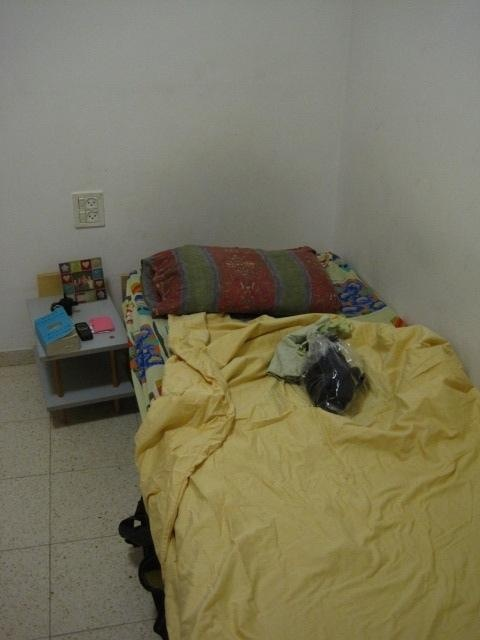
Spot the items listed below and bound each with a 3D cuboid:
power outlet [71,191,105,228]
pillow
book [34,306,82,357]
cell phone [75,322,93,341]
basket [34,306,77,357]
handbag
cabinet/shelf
[{"bbox_3d":[-0.674,-0.488,2.358,0.154,0.145,0.037,-2,24,-14],"label":"power outlet"},{"bbox_3d":[-0.006,-0.088,2.133,0.626,0.149,0.355,3,42,-16],"label":"pillow"},{"bbox_3d":[-0.735,0.041,2.114,0.143,0.071,0.224,-14,37,-23],"label":"book"},{"bbox_3d":[-0.630,0.040,2.157,0.049,0.030,0.093,-5,34,-20],"label":"cell phone"},{"bbox_3d":[-0.734,0.041,2.114,0.144,0.070,0.216,-16,38,-21],"label":"basket"},{"bbox_3d":[0.293,0.185,1.646,0.172,0.070,0.189,19,69,6],"label":"handbag"},{"bbox_3d":[-0.726,0.194,2.402,0.366,0.302,0.523,-8,24,-26],"label":"cabinet/shelf"}]
